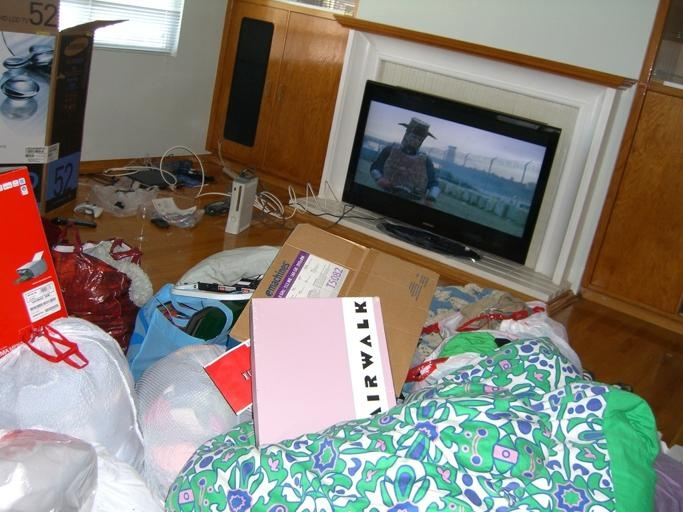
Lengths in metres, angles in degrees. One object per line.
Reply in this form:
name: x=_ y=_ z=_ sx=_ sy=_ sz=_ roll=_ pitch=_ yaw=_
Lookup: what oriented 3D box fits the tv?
tv: x=0.817 y=-0.560 z=3.266 sx=1.202 sy=0.792 sz=0.133 roll=24 pitch=20 yaw=24
